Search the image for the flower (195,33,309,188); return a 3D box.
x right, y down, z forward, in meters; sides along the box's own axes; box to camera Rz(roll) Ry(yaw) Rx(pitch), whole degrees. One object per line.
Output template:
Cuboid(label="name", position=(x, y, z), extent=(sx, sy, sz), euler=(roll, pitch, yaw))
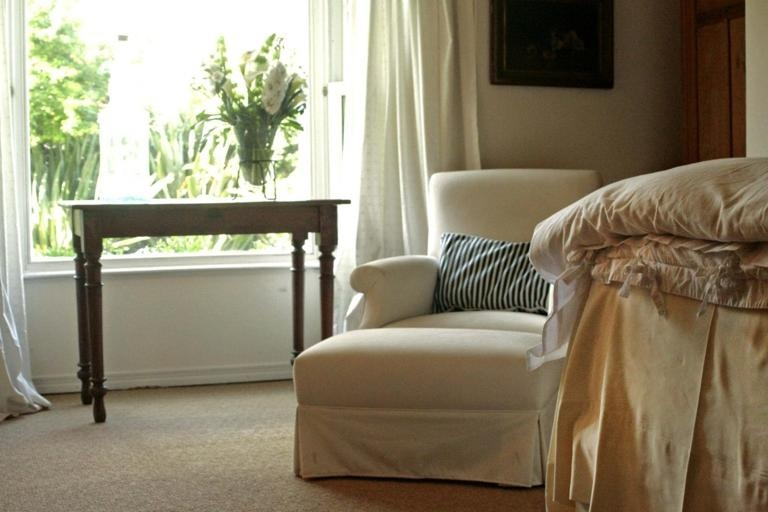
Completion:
Cuboid(label="flower", position=(-0.671, -0.759, 3.488), extent=(0.580, 0.808, 0.730), euler=(-4, 11, -15))

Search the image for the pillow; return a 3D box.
Cuboid(label="pillow", position=(0.492, 0.039, 3.126), extent=(0.665, 0.480, 0.233), euler=(2, 14, -24))

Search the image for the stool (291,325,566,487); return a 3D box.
Cuboid(label="stool", position=(0.205, 0.535, 2.792), extent=(0.967, 0.515, 0.774), euler=(-2, 2, 14))

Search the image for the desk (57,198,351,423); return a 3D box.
Cuboid(label="desk", position=(-0.909, 0.284, 3.346), extent=(1.006, 0.779, 0.464), euler=(-1, -3, -25))
